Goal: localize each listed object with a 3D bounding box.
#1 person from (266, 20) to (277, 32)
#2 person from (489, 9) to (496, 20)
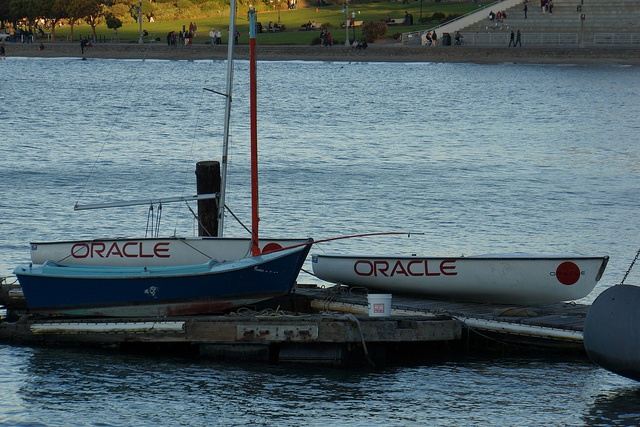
[{"bbox_3d":[-5.492,-21.382,191.569,1.583,0.652,1.932,0,2,-1],"label":"person"},{"bbox_3d":[17.429,-19.941,169.493,0.531,0.893,1.030,-3,12,7],"label":"person"}]
